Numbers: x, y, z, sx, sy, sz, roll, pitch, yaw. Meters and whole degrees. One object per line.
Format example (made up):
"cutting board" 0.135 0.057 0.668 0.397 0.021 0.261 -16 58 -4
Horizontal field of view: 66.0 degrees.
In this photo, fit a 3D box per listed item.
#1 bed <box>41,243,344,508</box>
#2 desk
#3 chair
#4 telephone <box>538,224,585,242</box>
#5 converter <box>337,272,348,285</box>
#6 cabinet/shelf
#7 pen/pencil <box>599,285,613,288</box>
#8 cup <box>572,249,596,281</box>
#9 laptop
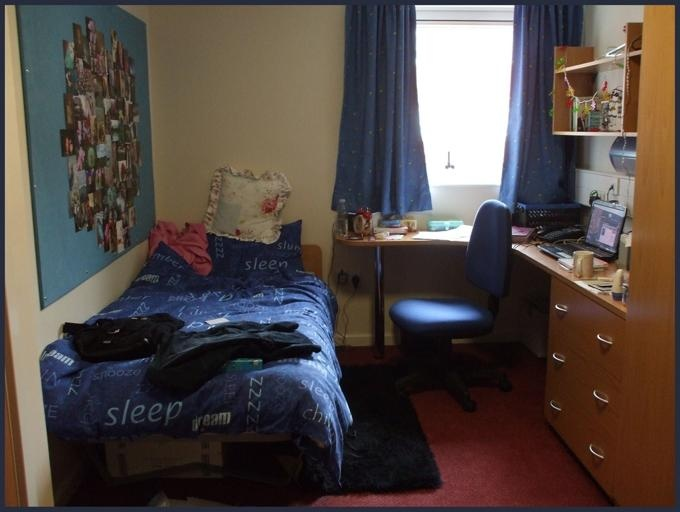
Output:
"bed" -0.690 0.497 3.009 1.329 0.652 1.552 2 17 1
"desk" 0.818 0.697 3.760 1.469 0.989 1.467 -1 11 -5
"chair" 0.732 0.291 3.396 0.798 1.234 0.646 0 17 1
"telephone" 1.524 -0.147 3.559 0.183 0.065 0.143 -2 11 0
"converter" 0.023 0.188 4.149 0.079 0.117 0.082 0 -1 2
"cabinet/shelf" 1.594 -1.053 3.315 0.372 0.692 1.094 3 18 11
"pen/pencil" 1.324 0.158 2.616 0.056 0.005 0.026 -1 18 -1
"cup" 1.301 0.057 2.807 0.086 0.135 0.145 3 14 29
"laptop" 1.506 -0.129 3.240 0.370 0.301 0.481 -6 13 -1
